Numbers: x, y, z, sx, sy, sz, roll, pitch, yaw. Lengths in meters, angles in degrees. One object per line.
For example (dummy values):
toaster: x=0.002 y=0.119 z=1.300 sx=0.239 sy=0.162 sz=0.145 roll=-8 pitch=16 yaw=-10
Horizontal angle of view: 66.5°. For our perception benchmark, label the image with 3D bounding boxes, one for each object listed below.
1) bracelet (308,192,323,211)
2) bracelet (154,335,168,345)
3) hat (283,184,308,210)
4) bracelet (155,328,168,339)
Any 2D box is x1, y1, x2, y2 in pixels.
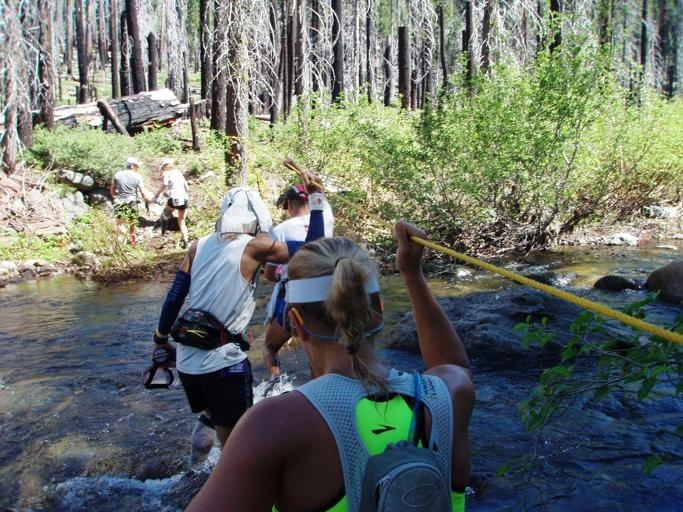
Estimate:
bracelet: x=-0.223 y=-0.461 z=4.579 sx=0.156 sy=0.156 sz=0.149 roll=-5 pitch=8 yaw=-27
bracelet: x=-1.539 y=0.712 z=4.471 sx=0.090 sy=0.094 sz=0.102 roll=4 pitch=12 yaw=2
hat: x=-0.491 y=-0.646 z=5.549 sx=0.187 sy=0.214 sz=0.236 roll=0 pitch=11 yaw=-10
bracelet: x=-1.532 y=0.660 z=4.456 sx=0.093 sy=0.061 sz=0.092 roll=1 pitch=2 yaw=-45
